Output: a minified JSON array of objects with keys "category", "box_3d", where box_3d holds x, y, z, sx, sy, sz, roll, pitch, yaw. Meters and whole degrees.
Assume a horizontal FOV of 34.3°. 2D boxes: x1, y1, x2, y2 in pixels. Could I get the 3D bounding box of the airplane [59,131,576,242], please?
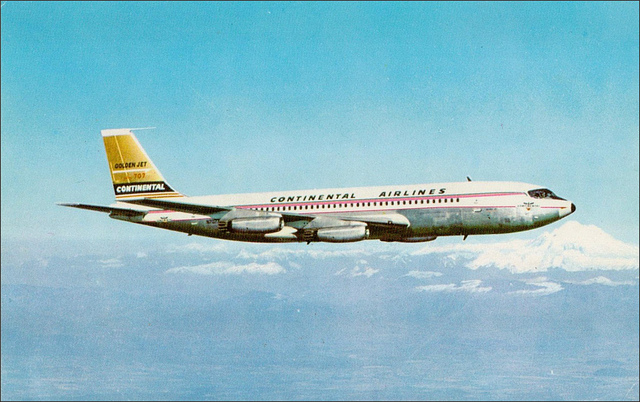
[{"category":"airplane","box_3d":[1.294,0.604,70.455,36.575,7.495,9.758,-1,-1,11]}]
